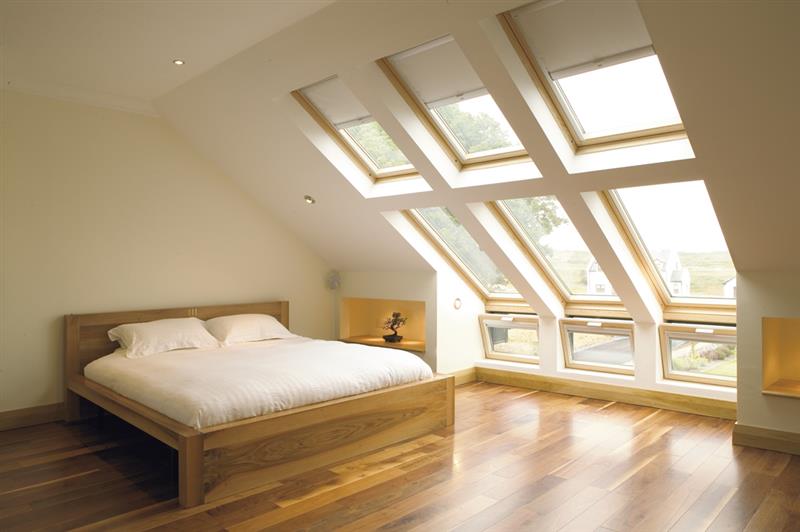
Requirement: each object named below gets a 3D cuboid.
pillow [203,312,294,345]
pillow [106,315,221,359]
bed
[{"bbox_3d":[-1.826,0.748,6.021,0.533,0.119,0.485,-1,16,-42],"label":"pillow"},{"bbox_3d":[-2.517,0.744,5.400,0.606,0.139,0.519,-2,36,-47],"label":"pillow"},{"bbox_3d":[-1.607,1.367,4.958,2.100,0.866,2.203,-2,1,-39],"label":"bed"}]
